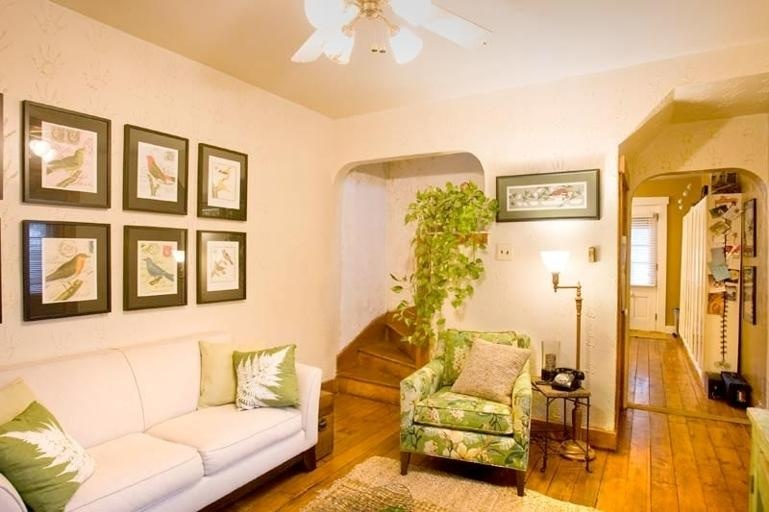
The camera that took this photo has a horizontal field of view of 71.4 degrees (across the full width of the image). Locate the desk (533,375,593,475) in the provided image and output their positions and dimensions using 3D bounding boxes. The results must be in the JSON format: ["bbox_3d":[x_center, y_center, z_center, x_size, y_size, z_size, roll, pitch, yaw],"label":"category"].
[{"bbox_3d":[1.693,1.526,4.934,0.607,0.805,0.958,-1,-1,7],"label":"desk"}]

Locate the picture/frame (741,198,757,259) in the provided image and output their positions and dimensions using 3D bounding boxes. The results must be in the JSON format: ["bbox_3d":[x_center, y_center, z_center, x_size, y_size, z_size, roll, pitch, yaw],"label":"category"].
[{"bbox_3d":[3.984,-0.314,5.867,0.100,0.774,0.675,1,0,29],"label":"picture/frame"}]

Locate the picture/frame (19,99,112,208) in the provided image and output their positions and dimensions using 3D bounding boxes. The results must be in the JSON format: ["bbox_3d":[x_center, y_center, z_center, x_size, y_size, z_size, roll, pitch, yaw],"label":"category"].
[{"bbox_3d":[-2.452,-0.783,4.169,0.622,0.811,0.248,-6,16,-25],"label":"picture/frame"}]

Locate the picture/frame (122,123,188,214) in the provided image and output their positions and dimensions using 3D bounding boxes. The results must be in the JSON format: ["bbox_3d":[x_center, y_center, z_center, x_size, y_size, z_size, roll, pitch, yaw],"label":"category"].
[{"bbox_3d":[-1.947,-0.734,4.588,0.572,0.758,0.235,-7,16,-28],"label":"picture/frame"}]

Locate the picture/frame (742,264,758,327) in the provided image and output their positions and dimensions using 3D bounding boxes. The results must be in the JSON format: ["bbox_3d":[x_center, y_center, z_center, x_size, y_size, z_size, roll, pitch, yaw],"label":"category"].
[{"bbox_3d":[3.959,0.408,5.815,0.088,0.846,0.693,0,-1,30],"label":"picture/frame"}]

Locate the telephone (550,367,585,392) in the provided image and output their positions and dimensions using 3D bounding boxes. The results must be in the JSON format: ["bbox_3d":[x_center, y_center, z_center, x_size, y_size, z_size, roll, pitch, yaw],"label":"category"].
[{"bbox_3d":[1.602,1.064,4.710,0.249,0.138,0.354,9,16,29],"label":"telephone"}]

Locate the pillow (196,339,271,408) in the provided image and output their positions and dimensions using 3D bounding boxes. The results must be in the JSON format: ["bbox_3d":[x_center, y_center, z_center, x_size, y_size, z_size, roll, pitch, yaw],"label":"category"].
[{"bbox_3d":[-1.338,0.954,4.460,0.152,0.457,0.456,-19,-15,41],"label":"pillow"}]

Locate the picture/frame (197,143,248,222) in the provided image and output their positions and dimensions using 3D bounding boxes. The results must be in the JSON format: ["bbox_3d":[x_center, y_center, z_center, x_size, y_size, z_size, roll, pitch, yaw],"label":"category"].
[{"bbox_3d":[-1.510,-0.697,5.018,0.567,0.717,0.132,-13,19,-41],"label":"picture/frame"}]

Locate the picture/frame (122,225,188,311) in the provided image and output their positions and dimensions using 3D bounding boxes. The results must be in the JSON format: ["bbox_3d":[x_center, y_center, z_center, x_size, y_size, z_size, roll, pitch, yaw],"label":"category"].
[{"bbox_3d":[-1.948,0.082,4.586,0.591,0.721,0.217,-9,17,-33],"label":"picture/frame"}]
